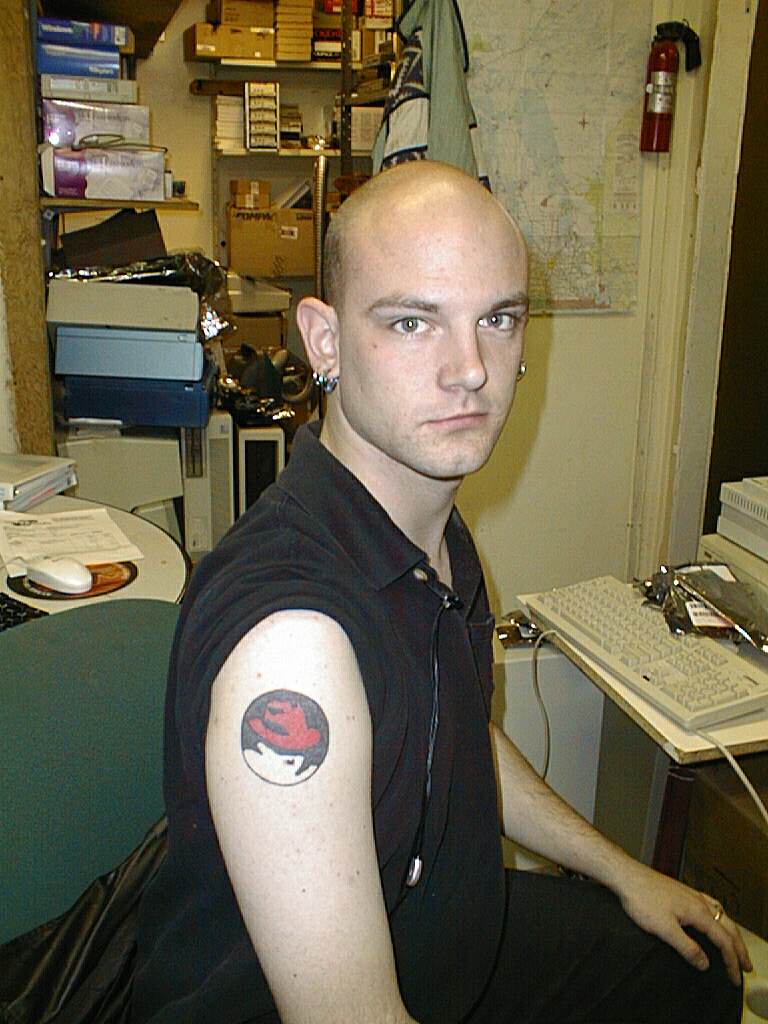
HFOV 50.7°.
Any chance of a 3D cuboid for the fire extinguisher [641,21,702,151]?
[{"bbox_3d":[0.892,-1.312,2.515,0.179,0.354,0.093,-10,19,-31],"label":"fire extinguisher"}]
